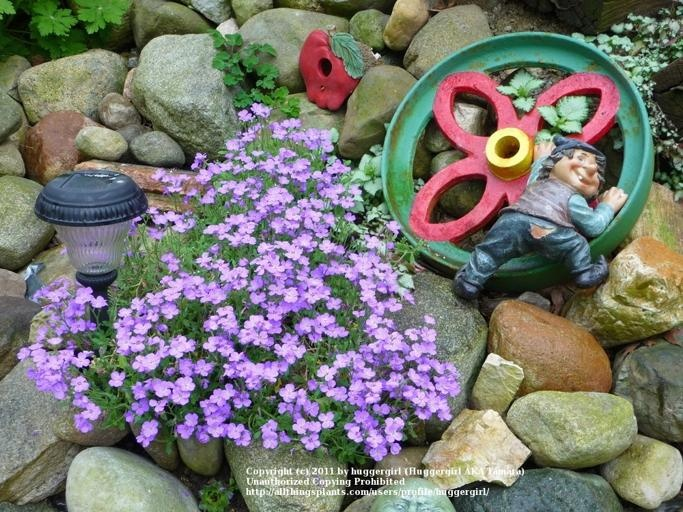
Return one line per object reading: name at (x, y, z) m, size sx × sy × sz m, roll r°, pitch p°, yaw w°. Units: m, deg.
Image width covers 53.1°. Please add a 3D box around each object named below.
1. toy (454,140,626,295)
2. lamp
toy at (1.157, -0.104, 3.779) m, size 0.699 × 0.657 × 0.881 m, roll 32°, pitch 54°, yaw 19°
lamp at (-1.299, -0.016, 3.605) m, size 0.493 × 0.933 × 0.568 m, roll 10°, pitch 41°, yaw -6°
